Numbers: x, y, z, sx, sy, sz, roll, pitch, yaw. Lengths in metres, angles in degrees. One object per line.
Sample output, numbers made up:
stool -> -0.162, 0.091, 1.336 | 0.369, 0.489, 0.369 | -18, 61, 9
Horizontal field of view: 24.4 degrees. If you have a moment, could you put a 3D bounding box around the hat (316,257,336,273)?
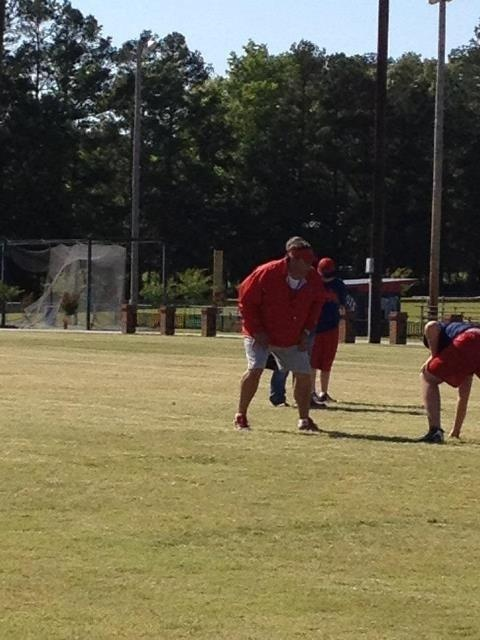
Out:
hat -> 0.836, -0.542, 10.980 | 0.170, 0.188, 0.133 | -6, 9, -6

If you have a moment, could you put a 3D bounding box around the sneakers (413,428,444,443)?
sneakers -> 1.364, 0.842, 8.140 | 0.075, 0.108, 0.224 | 2, -1, -38

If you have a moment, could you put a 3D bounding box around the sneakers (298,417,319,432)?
sneakers -> 0.517, 0.822, 8.695 | 0.193, 0.102, 0.068 | -1, 6, -23

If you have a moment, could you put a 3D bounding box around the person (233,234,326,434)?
person -> 0.286, 0.115, 8.596 | 0.639, 1.490, 0.676 | 2, 3, 21
